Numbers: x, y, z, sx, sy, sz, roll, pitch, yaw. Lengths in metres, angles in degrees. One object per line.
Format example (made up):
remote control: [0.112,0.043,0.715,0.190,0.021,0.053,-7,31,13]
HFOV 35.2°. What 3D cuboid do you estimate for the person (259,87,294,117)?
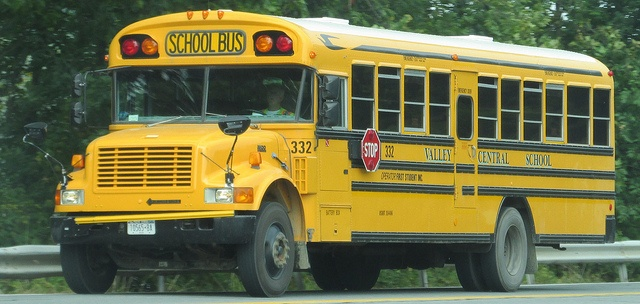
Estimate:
person: [-1.097,-1.219,24.488,1.076,0.685,0.499,3,-10,5]
